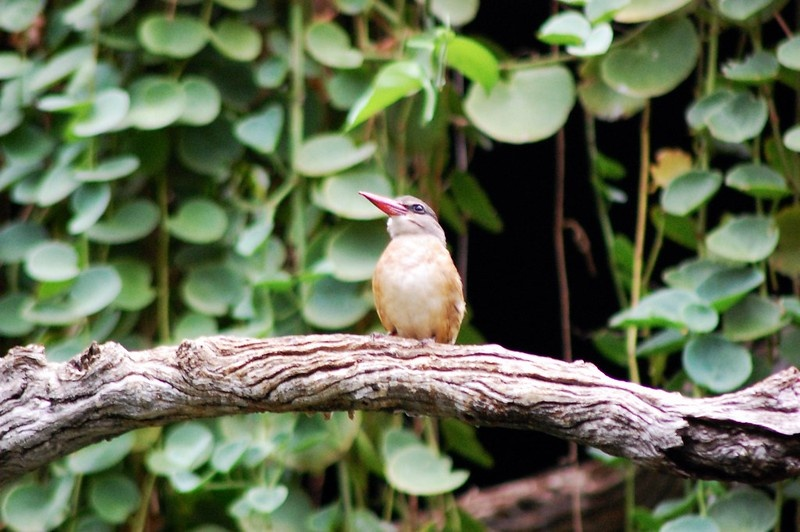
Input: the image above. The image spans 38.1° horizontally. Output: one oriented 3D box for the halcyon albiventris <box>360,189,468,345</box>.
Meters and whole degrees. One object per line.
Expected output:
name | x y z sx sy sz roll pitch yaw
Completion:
halcyon albiventris | 0.065 0.001 5.675 0.445 0.757 0.268 -2 -14 -16
